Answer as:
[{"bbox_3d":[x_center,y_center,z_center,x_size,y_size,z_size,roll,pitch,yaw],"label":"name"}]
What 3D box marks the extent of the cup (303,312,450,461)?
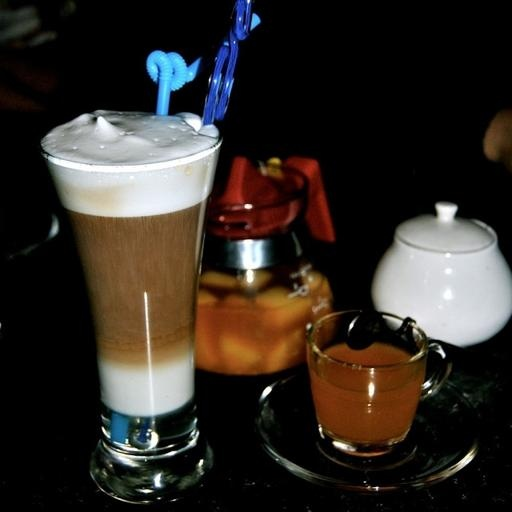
[{"bbox_3d":[0.136,0.139,0.642,0.167,0.110,0.128,3,20,13],"label":"cup"}]
